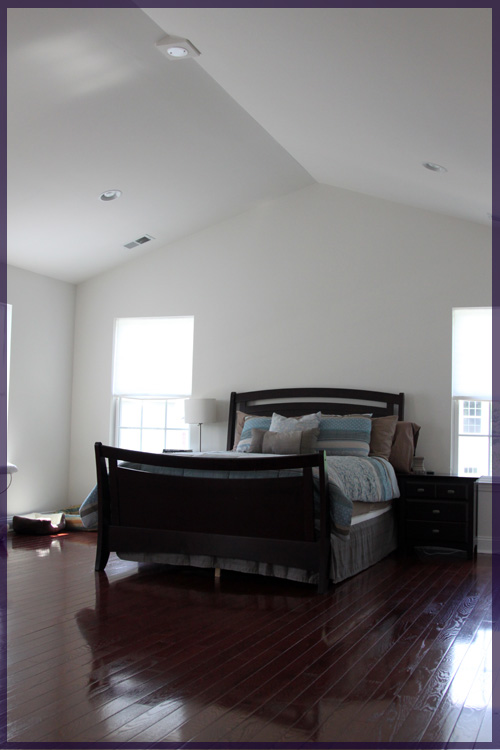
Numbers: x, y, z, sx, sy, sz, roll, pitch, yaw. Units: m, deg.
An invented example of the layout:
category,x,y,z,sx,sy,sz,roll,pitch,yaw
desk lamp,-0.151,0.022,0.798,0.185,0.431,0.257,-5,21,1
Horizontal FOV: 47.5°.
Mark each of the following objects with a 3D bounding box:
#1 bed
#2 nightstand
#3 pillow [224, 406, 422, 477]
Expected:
category,x,y,z,sx,sy,sz,roll,pitch,yaw
bed,0.259,0.762,3.928,1.630,1.039,1.754,-4,-10,22
nightstand,1.407,0.984,4.500,0.760,0.827,0.543,-2,-8,22
pillow,0.795,0.407,4.839,1.076,0.646,0.675,4,0,18
